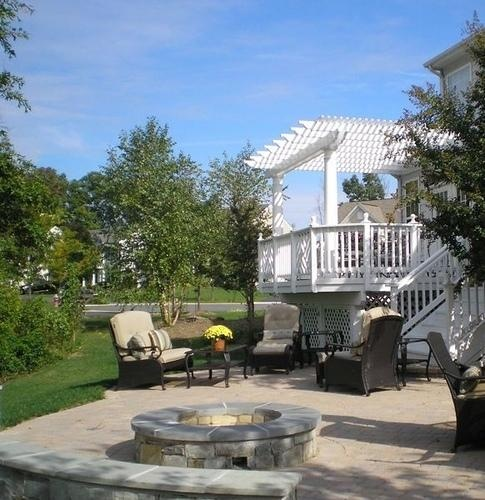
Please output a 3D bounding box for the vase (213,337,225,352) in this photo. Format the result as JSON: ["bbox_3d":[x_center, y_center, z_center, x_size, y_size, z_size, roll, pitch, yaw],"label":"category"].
[{"bbox_3d":[-0.434,1.722,11.980,0.208,0.168,0.189,1,-9,-8],"label":"vase"}]

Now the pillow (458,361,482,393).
[{"bbox_3d":[2.502,1.409,7.220,0.272,0.344,0.136,7,-28,41],"label":"pillow"}]

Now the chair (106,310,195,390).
[{"bbox_3d":[-1.628,1.771,11.980,1.166,1.158,1.838,3,-2,7],"label":"chair"}]
